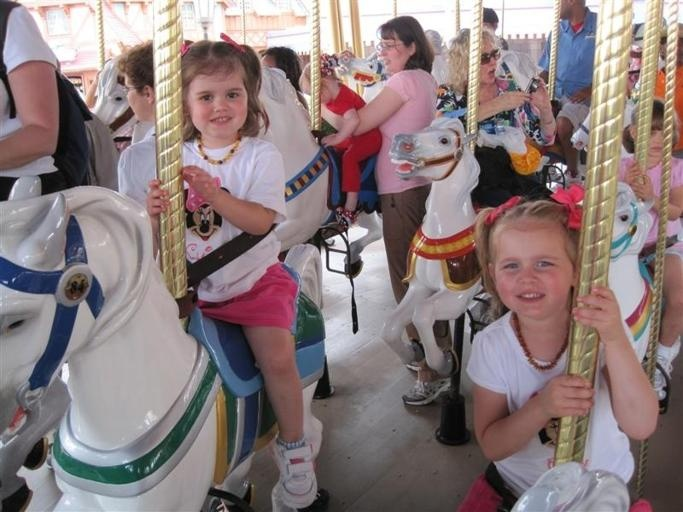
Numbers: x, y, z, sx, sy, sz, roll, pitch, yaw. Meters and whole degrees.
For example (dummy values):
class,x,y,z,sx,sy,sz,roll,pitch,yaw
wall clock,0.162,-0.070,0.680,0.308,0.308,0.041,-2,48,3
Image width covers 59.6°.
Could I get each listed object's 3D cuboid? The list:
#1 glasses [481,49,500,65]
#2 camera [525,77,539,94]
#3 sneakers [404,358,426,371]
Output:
class,x,y,z,sx,sy,sz,roll,pitch,yaw
glasses,0.896,-1.196,3.584,0.152,0.082,0.052,-21,25,-36
camera,1.119,-0.999,3.498,0.073,0.081,0.093,2,21,18
sneakers,0.449,0.666,3.667,0.124,0.062,0.101,1,-4,-9
